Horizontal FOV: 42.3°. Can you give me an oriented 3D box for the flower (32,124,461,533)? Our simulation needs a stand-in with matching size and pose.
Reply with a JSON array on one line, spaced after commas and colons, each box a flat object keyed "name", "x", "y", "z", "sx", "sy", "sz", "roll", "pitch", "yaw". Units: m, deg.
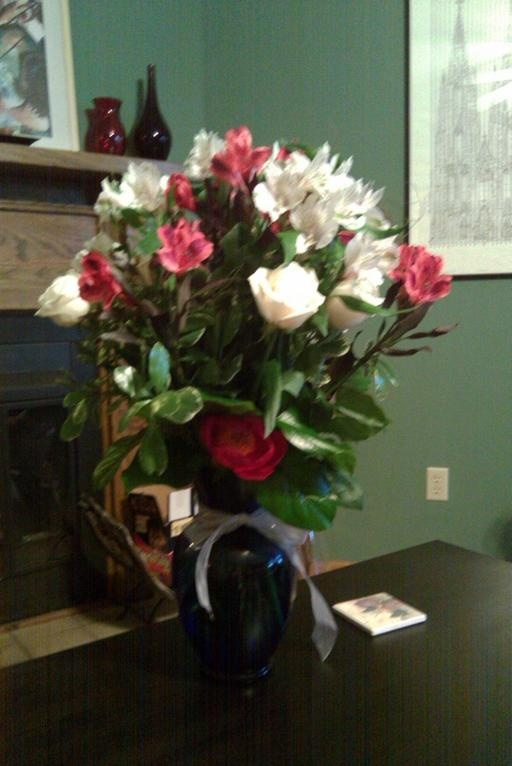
[{"name": "flower", "x": 0.007, "y": -0.017, "z": 0.311, "sx": 0.201, "sy": 0.186, "sz": 0.146, "roll": -8, "pitch": 16, "yaw": -18}]
